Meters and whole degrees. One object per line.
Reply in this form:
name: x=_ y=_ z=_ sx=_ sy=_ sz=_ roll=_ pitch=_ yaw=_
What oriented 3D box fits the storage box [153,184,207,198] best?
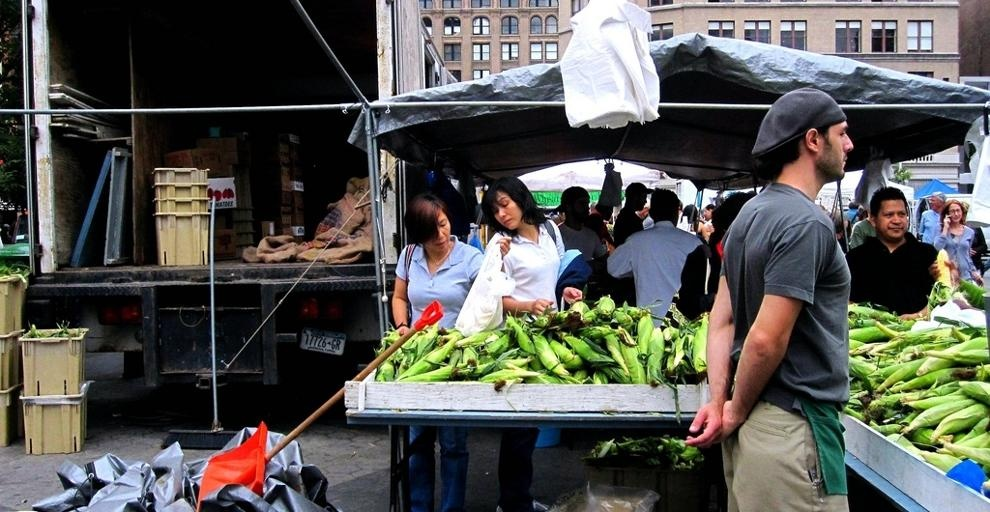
storage box: x=-4.256 y=-0.875 z=10.894 sx=0.637 sy=0.205 sz=0.135 roll=1 pitch=-1 yaw=-6

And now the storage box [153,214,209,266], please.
storage box: x=-4.262 y=-0.225 z=10.986 sx=0.508 sy=0.823 sz=0.570 roll=0 pitch=0 yaw=-1

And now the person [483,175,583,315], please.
person: x=0.324 y=-0.128 z=8.816 sx=0.942 sy=1.521 sz=0.783 roll=1 pitch=-1 yaw=-8

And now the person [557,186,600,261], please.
person: x=1.252 y=-0.459 z=12.046 sx=0.560 sy=1.206 sz=0.695 roll=2 pitch=0 yaw=9

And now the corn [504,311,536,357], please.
corn: x=0.264 y=0.796 z=8.283 sx=0.154 sy=0.152 sz=0.517 roll=-9 pitch=48 yaw=-43

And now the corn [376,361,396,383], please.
corn: x=-1.104 y=1.188 z=8.234 sx=0.138 sy=0.204 sz=0.107 roll=-1 pitch=-22 yaw=3

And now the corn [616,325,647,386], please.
corn: x=1.367 y=1.005 z=8.125 sx=0.164 sy=0.568 sz=0.151 roll=-19 pitch=-28 yaw=10

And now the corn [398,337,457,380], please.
corn: x=-0.639 y=1.057 z=8.258 sx=0.806 sy=0.213 sz=0.178 roll=-29 pitch=-32 yaw=-17

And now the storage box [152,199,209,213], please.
storage box: x=-4.250 y=-0.670 z=10.926 sx=0.646 sy=0.205 sz=0.202 roll=1 pitch=-1 yaw=-28

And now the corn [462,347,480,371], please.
corn: x=-0.260 y=1.043 z=8.147 sx=0.129 sy=0.090 sz=0.210 roll=31 pitch=19 yaw=-13

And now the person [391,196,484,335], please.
person: x=-0.632 y=0.096 z=9.194 sx=0.798 sy=1.708 sz=0.959 roll=-1 pitch=0 yaw=3

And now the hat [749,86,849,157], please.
hat: x=2.674 y=-1.209 z=7.333 sx=0.775 sy=0.387 sz=0.538 roll=-20 pitch=1 yaw=0

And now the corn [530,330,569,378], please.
corn: x=0.512 y=1.000 z=8.187 sx=0.188 sy=0.183 sz=0.580 roll=-25 pitch=52 yaw=-19

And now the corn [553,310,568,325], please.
corn: x=0.660 y=0.628 z=8.160 sx=0.142 sy=0.138 sz=0.109 roll=13 pitch=6 yaw=6

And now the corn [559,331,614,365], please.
corn: x=0.944 y=0.968 z=8.167 sx=0.601 sy=0.192 sz=0.157 roll=30 pitch=-8 yaw=14

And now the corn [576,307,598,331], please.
corn: x=0.944 y=0.633 z=8.245 sx=0.158 sy=0.113 sz=0.250 roll=-11 pitch=32 yaw=-32

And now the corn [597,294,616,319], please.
corn: x=1.159 y=0.524 z=8.451 sx=0.191 sy=0.204 sz=0.287 roll=0 pitch=-1 yaw=7

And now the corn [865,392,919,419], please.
corn: x=3.896 y=1.468 z=8.080 sx=0.674 sy=0.189 sz=0.238 roll=-9 pitch=9 yaw=0

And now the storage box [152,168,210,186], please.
storage box: x=-4.243 y=-1.066 z=10.893 sx=0.648 sy=0.235 sz=0.126 roll=1 pitch=-1 yaw=-22

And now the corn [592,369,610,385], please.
corn: x=1.051 y=1.218 z=8.036 sx=0.106 sy=0.121 sz=0.049 roll=-6 pitch=-15 yaw=-15

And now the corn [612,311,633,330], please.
corn: x=1.323 y=0.663 z=8.338 sx=0.216 sy=0.134 sz=0.084 roll=23 pitch=2 yaw=-6

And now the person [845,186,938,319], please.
person: x=4.865 y=0.112 z=10.138 sx=1.014 sy=2.064 sz=1.144 roll=1 pitch=0 yaw=12

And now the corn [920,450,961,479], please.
corn: x=4.106 y=1.960 z=7.591 sx=0.502 sy=0.150 sz=0.163 roll=9 pitch=38 yaw=3

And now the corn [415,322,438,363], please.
corn: x=-0.708 y=0.891 z=8.384 sx=0.120 sy=0.063 sz=0.443 roll=19 pitch=38 yaw=4

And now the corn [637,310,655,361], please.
corn: x=1.538 y=0.785 z=8.214 sx=0.144 sy=0.434 sz=0.143 roll=4 pitch=-37 yaw=21

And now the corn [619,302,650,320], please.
corn: x=1.447 y=0.590 z=8.453 sx=0.234 sy=0.091 sz=0.156 roll=17 pitch=-5 yaw=18

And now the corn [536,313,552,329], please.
corn: x=0.485 y=0.660 z=8.244 sx=0.064 sy=0.140 sz=0.161 roll=45 pitch=-26 yaw=-20

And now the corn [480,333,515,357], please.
corn: x=0.028 y=0.909 z=8.245 sx=0.316 sy=0.158 sz=0.123 roll=-31 pitch=9 yaw=-28

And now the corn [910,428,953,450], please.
corn: x=4.187 y=1.759 z=7.758 sx=0.269 sy=0.215 sz=0.119 roll=-12 pitch=-43 yaw=-6

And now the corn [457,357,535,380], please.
corn: x=0.006 y=1.166 z=8.129 sx=0.793 sy=0.240 sz=0.259 roll=0 pitch=-21 yaw=1

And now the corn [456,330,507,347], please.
corn: x=-0.156 y=0.853 z=8.388 sx=0.550 sy=0.161 sz=0.146 roll=-5 pitch=-18 yaw=-3

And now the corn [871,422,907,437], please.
corn: x=3.838 y=1.692 z=7.843 sx=0.308 sy=0.107 sz=0.110 roll=4 pitch=26 yaw=5

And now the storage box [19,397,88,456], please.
storage box: x=-5.658 y=2.166 z=10.323 sx=0.704 sy=0.756 sz=0.229 roll=1 pitch=-1 yaw=-6

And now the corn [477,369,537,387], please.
corn: x=0.126 y=1.201 z=8.028 sx=0.615 sy=0.189 sz=0.179 roll=-2 pitch=-35 yaw=3
